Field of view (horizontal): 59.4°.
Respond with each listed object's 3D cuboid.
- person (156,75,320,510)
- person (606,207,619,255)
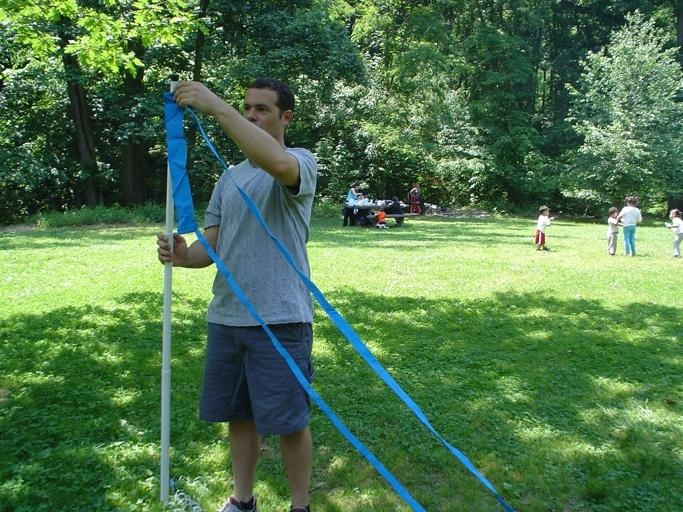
[{"bbox_3d":[-0.683,0.378,4.531,1.200,3.324,0.804,6,15,17],"label":"person"},{"bbox_3d":[6.780,-0.608,14.951,0.297,1.199,1.583,8,16,24],"label":"person"}]
